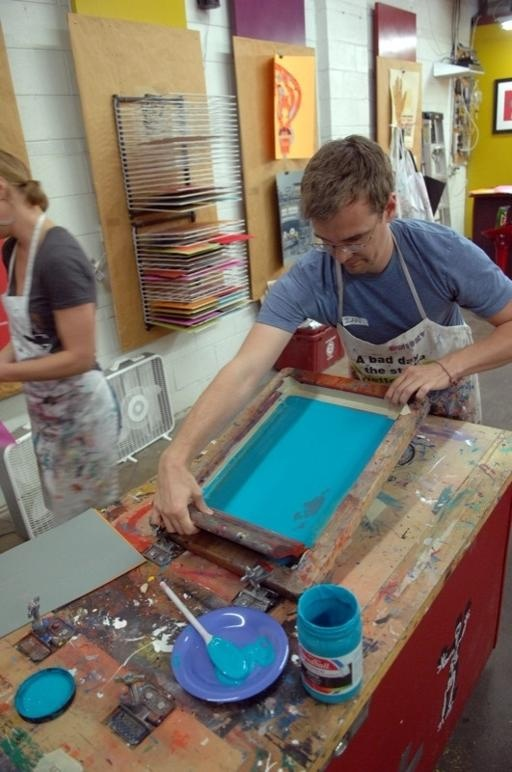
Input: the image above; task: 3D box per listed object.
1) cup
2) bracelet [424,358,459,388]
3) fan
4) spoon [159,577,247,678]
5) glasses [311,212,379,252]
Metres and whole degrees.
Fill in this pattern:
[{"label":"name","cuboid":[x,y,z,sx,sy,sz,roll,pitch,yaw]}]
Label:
[{"label":"cup","cuboid":[0.100,0.353,0.765,0.091,0.162,0.145,-8,19,0]},{"label":"bracelet","cuboid":[0.455,-0.033,1.378,0.020,0.073,0.077,-39,-25,13]},{"label":"fan","cuboid":[-0.614,0.200,1.896,0.225,0.474,0.711,23,49,25]},{"label":"spoon","cuboid":[-0.099,0.408,0.948,0.055,0.035,0.293,-28,26,-16]},{"label":"glasses","cuboid":[0.195,-0.338,1.221,0.112,0.081,0.085,-49,31,-14]}]
